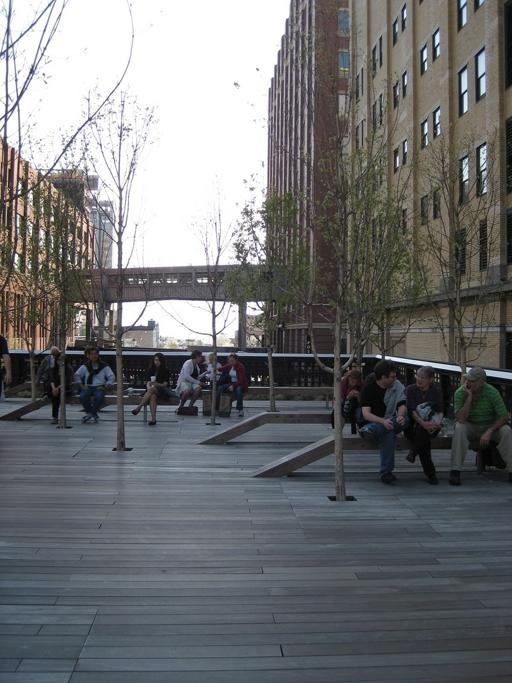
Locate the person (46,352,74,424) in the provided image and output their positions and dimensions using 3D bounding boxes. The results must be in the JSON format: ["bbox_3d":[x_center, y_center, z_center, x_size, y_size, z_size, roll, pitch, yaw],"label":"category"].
[{"bbox_3d":[-3.962,0.886,12.623,0.479,1.499,2.250,0,-1,-18],"label":"person"}]

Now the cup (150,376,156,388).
[{"bbox_3d":[-2.070,0.813,12.499,0.144,0.276,0.156,0,-2,0],"label":"cup"}]

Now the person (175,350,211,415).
[{"bbox_3d":[-1.464,0.955,14.125,0.686,1.483,1.210,0,-1,-8],"label":"person"}]

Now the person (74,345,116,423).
[{"bbox_3d":[-3.275,0.897,12.734,0.768,1.516,0.951,0,-1,-16],"label":"person"}]

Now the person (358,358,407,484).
[{"bbox_3d":[1.456,0.918,7.316,0.546,1.391,0.709,0,-1,17],"label":"person"}]

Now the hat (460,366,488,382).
[{"bbox_3d":[2.546,0.382,7.340,0.230,0.160,0.523,0,-1,23],"label":"hat"}]

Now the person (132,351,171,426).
[{"bbox_3d":[-2.180,0.974,12.945,0.717,1.428,1.506,0,-1,-11],"label":"person"}]

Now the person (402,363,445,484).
[{"bbox_3d":[1.956,0.961,7.377,0.447,1.301,0.640,0,-1,16],"label":"person"}]

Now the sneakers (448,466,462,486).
[{"bbox_3d":[2.227,1.526,7.064,0.124,0.159,0.256,0,-1,17],"label":"sneakers"}]

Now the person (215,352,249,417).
[{"bbox_3d":[-0.561,0.994,14.529,0.706,1.424,1.074,0,-1,-2],"label":"person"}]

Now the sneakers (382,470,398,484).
[{"bbox_3d":[1.508,1.553,7.123,0.184,0.118,0.227,0,-1,4],"label":"sneakers"}]
